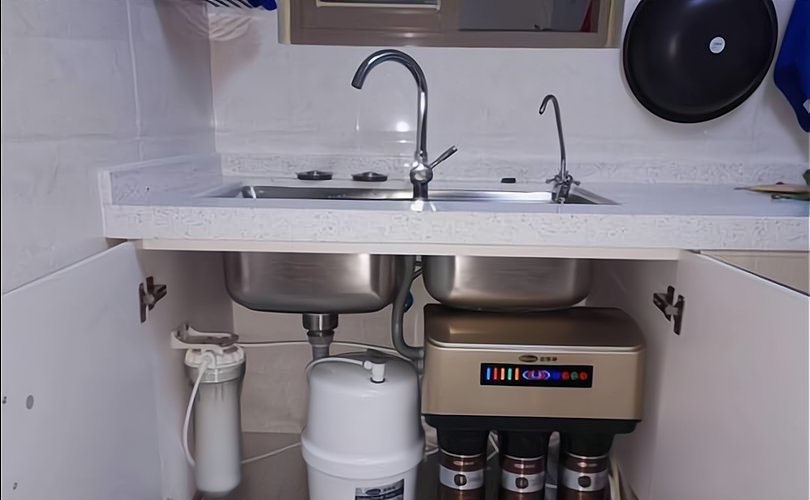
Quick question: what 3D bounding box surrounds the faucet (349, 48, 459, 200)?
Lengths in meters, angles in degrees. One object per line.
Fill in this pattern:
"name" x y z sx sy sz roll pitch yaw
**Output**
"faucet" -0.020 -0.420 2.275 0.342 0.494 0.244 -4 16 -14
